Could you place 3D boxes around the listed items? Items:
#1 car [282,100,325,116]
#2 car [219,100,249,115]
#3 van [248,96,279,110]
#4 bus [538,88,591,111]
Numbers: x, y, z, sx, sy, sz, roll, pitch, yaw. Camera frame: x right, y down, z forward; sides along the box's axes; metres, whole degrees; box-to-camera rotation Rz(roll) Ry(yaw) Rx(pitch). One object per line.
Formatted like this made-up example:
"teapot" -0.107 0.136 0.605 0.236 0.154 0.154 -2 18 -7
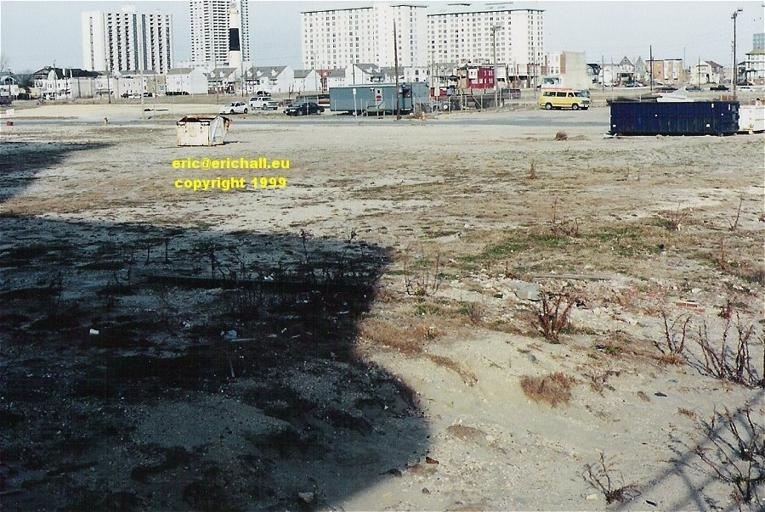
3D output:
"car" -7.255 -13.663 71.328 3.728 1.164 1.850 -16 21 -42
"car" -14.284 -14.186 73.958 1.254 1.026 2.341 7 11 41
"van" -13.164 -16.423 83.400 2.789 1.276 1.625 6 17 31
"bus" 16.518 -14.125 69.228 3.967 1.978 2.673 2 20 11
